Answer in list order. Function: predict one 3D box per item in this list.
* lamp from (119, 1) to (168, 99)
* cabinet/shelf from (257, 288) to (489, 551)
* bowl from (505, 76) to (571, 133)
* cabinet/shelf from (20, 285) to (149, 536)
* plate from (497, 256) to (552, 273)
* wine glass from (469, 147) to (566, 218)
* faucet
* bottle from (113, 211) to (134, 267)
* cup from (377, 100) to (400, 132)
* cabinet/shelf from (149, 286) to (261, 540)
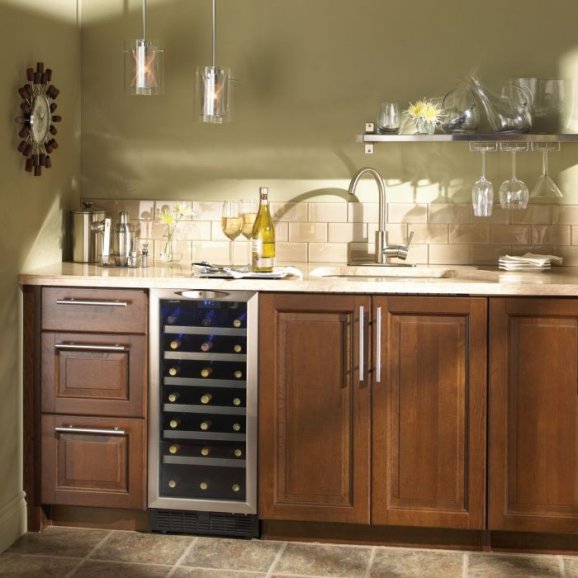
[{"bbox_3d":[-0.601,-0.905,2.855,0.159,0.210,0.088,-3,14,-10],"label":"lamp"},{"bbox_3d":[0.339,0.469,2.673,0.849,0.868,0.453,-2,-9,18],"label":"cabinet/shelf"},{"bbox_3d":[1.031,-0.754,2.886,0.253,0.247,0.169,1,4,25],"label":"bowl"},{"bbox_3d":[-0.722,0.445,2.839,0.601,0.989,0.549,1,1,0],"label":"cabinet/shelf"},{"bbox_3d":[0.963,-0.099,2.856,0.206,0.067,0.183,4,15,16],"label":"plate"},{"bbox_3d":[0.982,-0.455,2.953,0.300,0.261,0.134,-1,3,-7],"label":"wine glass"},{"bbox_3d":[0.397,-0.314,3.000,0.281,0.412,0.310,1,14,6],"label":"faucet"},{"bbox_3d":[-0.704,-0.208,2.946,0.084,0.212,0.132,-4,15,-13],"label":"bottle"},{"bbox_3d":[0.407,-0.704,2.893,0.083,0.119,0.125,-1,14,-2],"label":"cup"},{"bbox_3d":[-0.306,0.461,2.755,0.468,0.952,0.374,4,8,16],"label":"cabinet/shelf"}]
